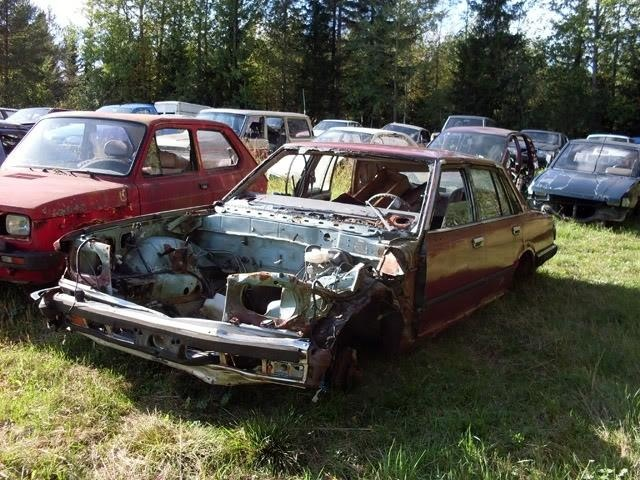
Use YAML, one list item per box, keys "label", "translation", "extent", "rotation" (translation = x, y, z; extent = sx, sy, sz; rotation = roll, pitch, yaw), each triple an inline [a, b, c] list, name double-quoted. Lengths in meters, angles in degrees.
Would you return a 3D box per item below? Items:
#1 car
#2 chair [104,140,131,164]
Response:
- label: "car"
  translation: [-0.054, 0.059, 4.815]
  extent: [2.257, 1.862, 3.886]
  rotation: [17, 18, 38]
- label: "chair"
  translation: [-2.300, -1.008, 5.962]
  extent: [0.307, 0.207, 0.270]
  rotation: [-2, 32, -19]
